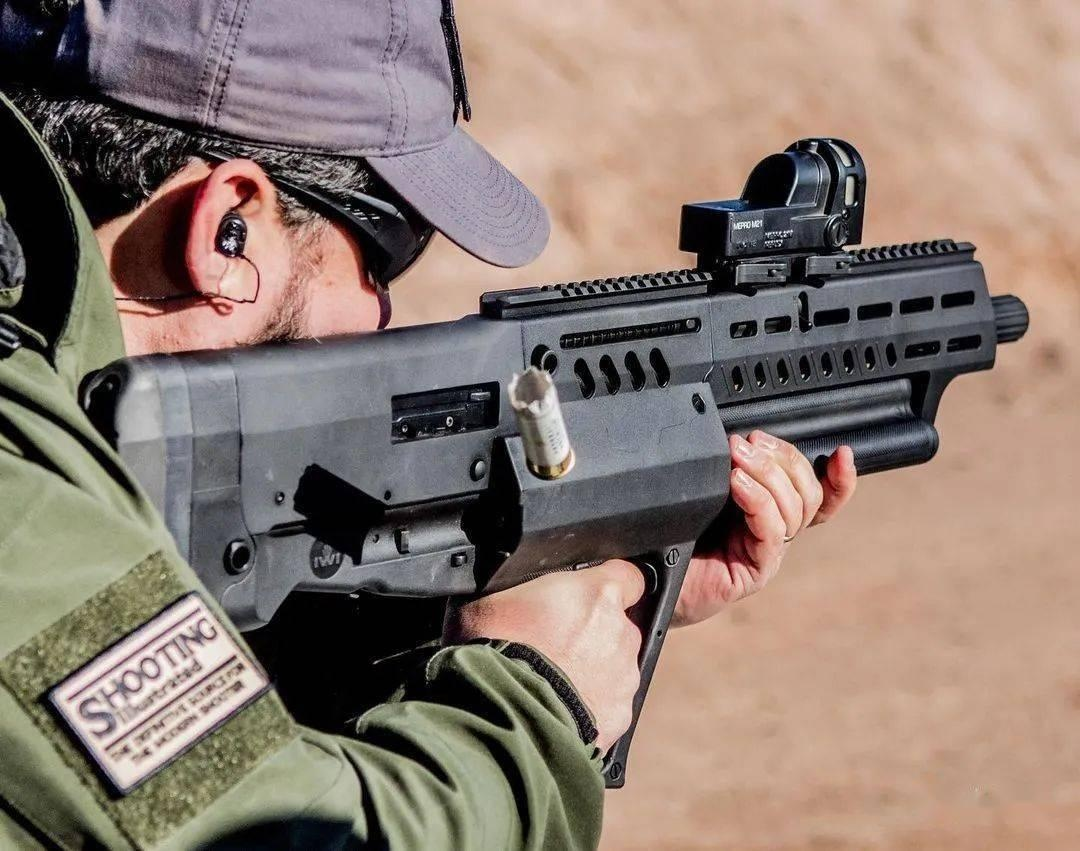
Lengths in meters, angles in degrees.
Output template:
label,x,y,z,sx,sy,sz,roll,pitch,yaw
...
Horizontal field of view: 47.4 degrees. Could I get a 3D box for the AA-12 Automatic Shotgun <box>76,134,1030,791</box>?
label,x,y,z,sx,sy,sz,roll,pitch,yaw
AA-12 Automatic Shotgun,0.203,0.144,2.524,1.968,1.333,0.314,-10,12,-23

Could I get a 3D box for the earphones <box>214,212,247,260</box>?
label,x,y,z,sx,sy,sz,roll,pitch,yaw
earphones,-0.519,-0.319,2.064,0.045,0.074,0.016,10,-6,-42
